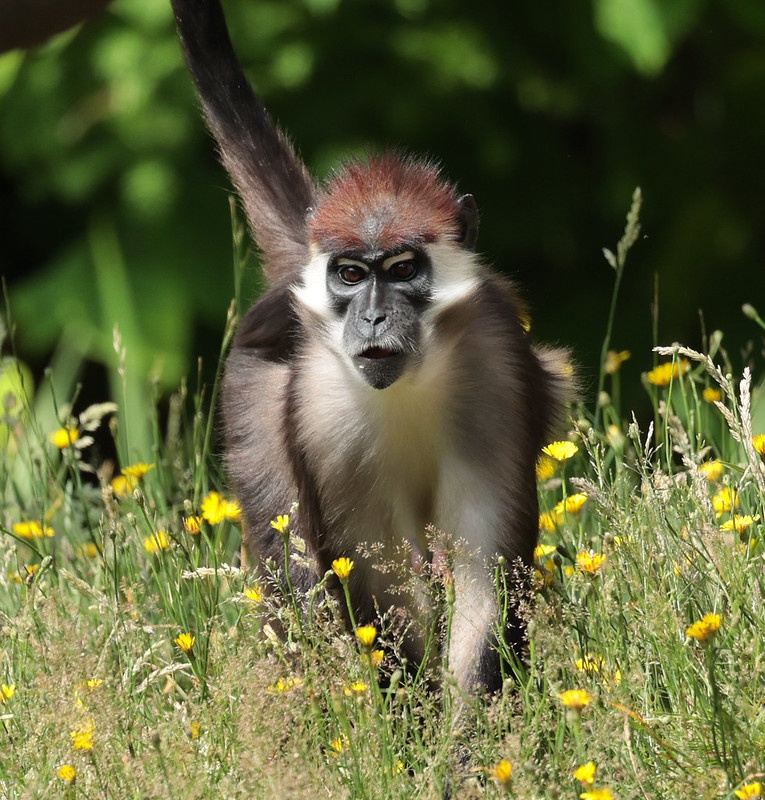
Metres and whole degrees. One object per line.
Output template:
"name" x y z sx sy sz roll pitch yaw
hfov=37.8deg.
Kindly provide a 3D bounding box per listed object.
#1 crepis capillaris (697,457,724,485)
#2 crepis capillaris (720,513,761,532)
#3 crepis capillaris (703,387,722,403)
"crepis capillaris" 0.896 0.195 3.036 0.070 0.053 0.091 4 -31 -2
"crepis capillaris" 0.913 0.311 2.833 0.067 0.031 0.067 -24 1 -31
"crepis capillaris" 1.054 -0.017 3.555 0.047 0.045 0.049 1 -2 -18
